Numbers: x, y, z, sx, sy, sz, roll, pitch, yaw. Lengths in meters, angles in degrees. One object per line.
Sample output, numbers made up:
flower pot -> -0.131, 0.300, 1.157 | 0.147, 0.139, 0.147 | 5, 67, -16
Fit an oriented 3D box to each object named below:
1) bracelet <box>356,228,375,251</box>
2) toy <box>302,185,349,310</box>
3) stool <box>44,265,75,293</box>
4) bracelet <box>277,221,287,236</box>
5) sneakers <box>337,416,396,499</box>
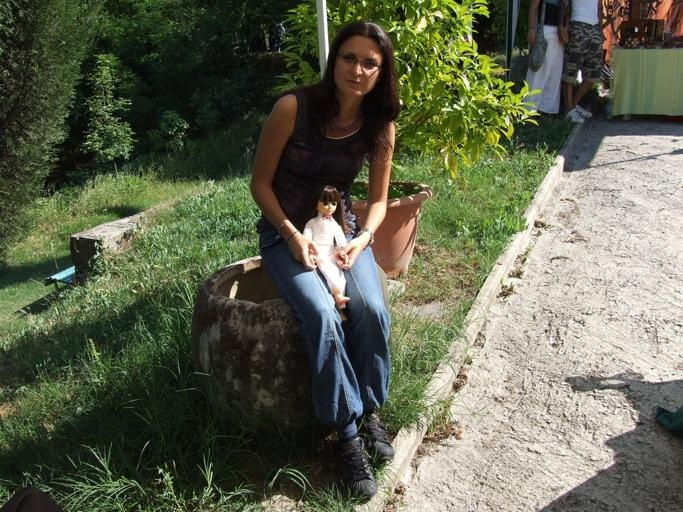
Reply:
bracelet -> 0.163, -0.099, 3.502 | 0.045, 0.122, 0.102 | -24, 53, -34
toy -> -0.104, -0.052, 3.305 | 0.248, 0.726, 0.278 | 4, -25, -25
stool -> -3.654, 0.305, 7.318 | 0.193, 0.098, 0.331 | 13, 32, 11
bracelet -> -0.341, -0.164, 3.250 | 0.023, 0.071, 0.055 | 6, -3, 27
sneakers -> 0.126, 1.112, 3.150 | 0.259, 0.293, 0.430 | 9, 19, 27
